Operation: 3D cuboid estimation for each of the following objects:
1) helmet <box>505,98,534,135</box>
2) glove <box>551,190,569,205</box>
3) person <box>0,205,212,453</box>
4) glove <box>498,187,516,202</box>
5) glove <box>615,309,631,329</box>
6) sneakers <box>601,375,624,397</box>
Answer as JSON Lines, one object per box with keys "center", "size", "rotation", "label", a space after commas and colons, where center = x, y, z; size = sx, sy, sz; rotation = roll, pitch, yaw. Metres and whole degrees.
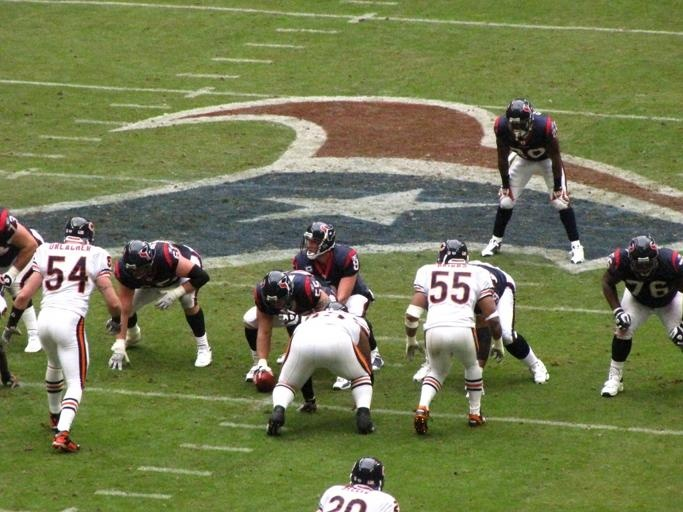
{"center": [2.602, -2.046, 19.669], "size": [0.450, 0.485, 0.558], "rotation": [5, 32, 11], "label": "helmet"}
{"center": [3.308, -0.858, 20.164], "size": [0.246, 0.226, 0.212], "rotation": [0, 13, 3], "label": "glove"}
{"center": [-3.152, 0.951, 15.852], "size": [1.095, 2.579, 1.230], "rotation": [-4, 13, -15], "label": "person"}
{"center": [2.512, -0.881, 20.414], "size": [0.182, 0.232, 0.205], "rotation": [21, 22, 32], "label": "glove"}
{"center": [3.499, 0.817, 16.562], "size": [0.171, 0.229, 0.093], "rotation": [-16, -22, -34], "label": "glove"}
{"center": [3.424, 1.670, 16.711], "size": [0.182, 0.209, 0.457], "rotation": [12, 17, 44], "label": "sneakers"}
